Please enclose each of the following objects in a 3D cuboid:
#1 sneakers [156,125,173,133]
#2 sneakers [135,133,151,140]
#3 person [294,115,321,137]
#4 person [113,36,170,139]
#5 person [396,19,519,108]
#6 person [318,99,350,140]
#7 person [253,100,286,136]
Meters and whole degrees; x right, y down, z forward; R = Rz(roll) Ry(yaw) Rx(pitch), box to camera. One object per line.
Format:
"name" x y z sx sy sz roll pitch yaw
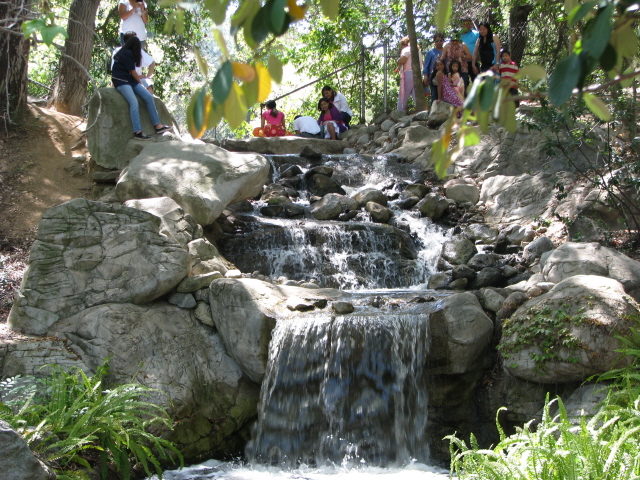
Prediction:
"sneakers" -2.685 -1.895 11.759 0.096 0.116 0.270 10 15 38
"sneakers" -2.943 -1.723 11.378 0.238 0.126 0.111 -1 17 -3
"person" -0.333 -3.104 18.971 0.721 0.707 0.619 5 -4 -43
"person" -3.038 -2.457 11.171 0.701 1.490 1.189 2 -3 4
"person" 3.399 -4.426 16.606 1.066 1.773 2.484 3 -4 -30
"person" 0.347 -3.268 18.954 0.837 1.111 0.741 3 -3 -14
"person" -1.247 -3.168 18.347 0.659 1.044 1.425 2 -3 -6
